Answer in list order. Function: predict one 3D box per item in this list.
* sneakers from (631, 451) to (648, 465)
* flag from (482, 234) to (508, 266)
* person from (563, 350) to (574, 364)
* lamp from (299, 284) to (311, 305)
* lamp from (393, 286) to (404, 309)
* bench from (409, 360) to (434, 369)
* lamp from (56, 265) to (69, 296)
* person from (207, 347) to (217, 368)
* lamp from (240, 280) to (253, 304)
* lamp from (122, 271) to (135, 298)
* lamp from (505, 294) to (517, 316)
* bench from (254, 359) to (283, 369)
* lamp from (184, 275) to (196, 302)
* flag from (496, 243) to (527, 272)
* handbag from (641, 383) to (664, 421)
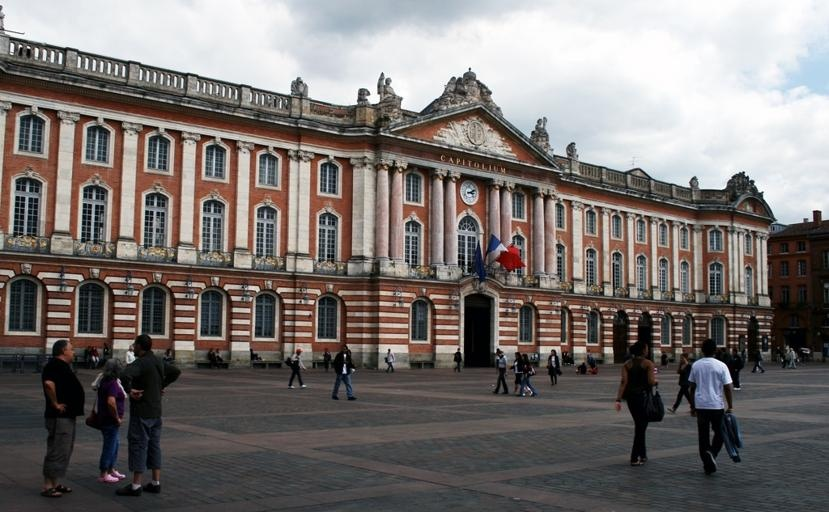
[{"bbox_3d":[6.836,6.220,27.937,0.235,0.247,0.701,0,0,34],"label":"sneakers"},{"bbox_3d":[5.763,-0.398,66.585,2.542,2.893,0.478,-3,4,40],"label":"flag"},{"bbox_3d":[12.389,8.235,73.790,1.134,1.043,0.788,-12,-17,36],"label":"person"},{"bbox_3d":[-7.321,2.496,60.693,0.789,0.999,0.378,2,2,-39],"label":"lamp"},{"bbox_3d":[-1.187,2.820,62.625,0.768,1.058,0.410,3,1,-17],"label":"lamp"},{"bbox_3d":[0.500,7.570,63.865,2.040,0.505,0.480,5,-7,-39],"label":"bench"},{"bbox_3d":[-20.383,1.334,53.061,0.418,1.498,0.414,3,2,-30],"label":"lamp"},{"bbox_3d":[-12.620,6.394,57.117,0.735,0.787,0.307,4,1,34],"label":"person"},{"bbox_3d":[-10.818,2.288,58.799,0.666,0.963,0.404,3,1,-18],"label":"lamp"},{"bbox_3d":[-17.092,1.651,55.012,0.649,1.408,0.404,3,1,-21],"label":"lamp"},{"bbox_3d":[7.125,3.680,68.300,0.612,1.541,1.795,-3,-5,41],"label":"lamp"},{"bbox_3d":[-9.537,6.992,59.340,2.262,0.374,0.374,2,2,-35],"label":"bench"},{"bbox_3d":[-13.978,1.938,56.795,0.535,0.992,0.581,3,1,-18],"label":"lamp"},{"bbox_3d":[7.167,0.252,66.227,2.255,1.059,2.106,-8,15,-26],"label":"flag"},{"bbox_3d":[7.422,4.573,28.461,0.542,1.010,1.340,4,1,17],"label":"handbag"}]
